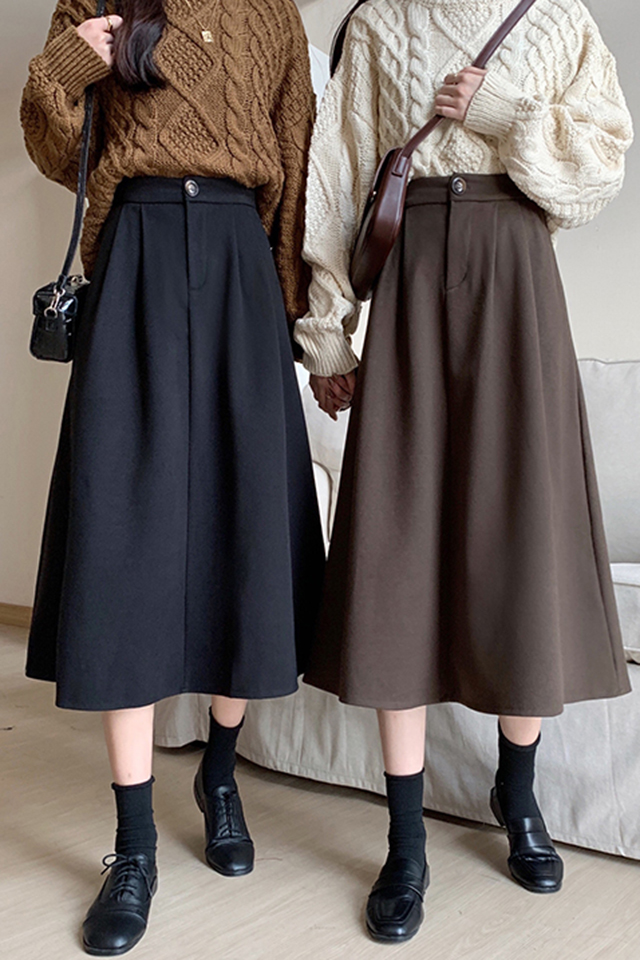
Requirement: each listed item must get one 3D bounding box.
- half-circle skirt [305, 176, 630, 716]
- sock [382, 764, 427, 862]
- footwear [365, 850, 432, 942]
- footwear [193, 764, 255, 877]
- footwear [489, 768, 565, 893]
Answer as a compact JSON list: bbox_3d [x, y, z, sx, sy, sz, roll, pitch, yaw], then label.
[{"bbox_3d":[0.213,-0.060,1.173,0.460,0.753,0.204,0,-1,-2],"label":"half-circle skirt"},{"bbox_3d":[0.119,0.473,1.171,0.052,0.117,0.074,0,-1,3],"label":"sock"},{"bbox_3d":[0.100,0.554,1.101,0.076,0.073,0.109,0,-1,3],"label":"footwear"},{"bbox_3d":[-0.150,0.523,1.288,0.055,0.065,0.154,-3,50,-22],"label":"footwear"},{"bbox_3d":[0.310,0.527,1.253,0.063,0.050,0.167,-6,34,-4],"label":"footwear"}]
